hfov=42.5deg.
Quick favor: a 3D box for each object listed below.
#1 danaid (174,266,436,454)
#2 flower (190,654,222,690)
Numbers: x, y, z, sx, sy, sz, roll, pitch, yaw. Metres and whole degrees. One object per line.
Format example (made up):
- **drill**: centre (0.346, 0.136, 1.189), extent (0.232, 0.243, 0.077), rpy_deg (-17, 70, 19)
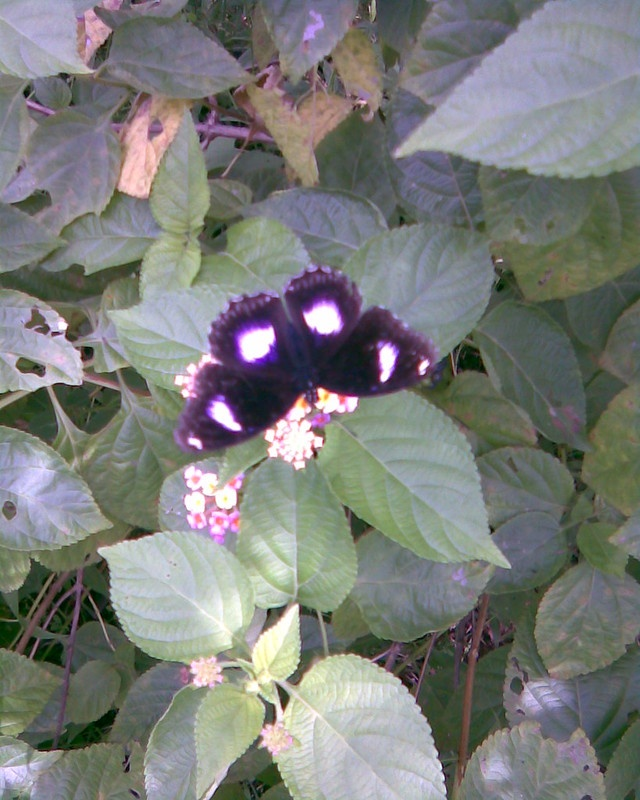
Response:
- **danaid**: centre (0.015, -0.046, 0.947), extent (0.313, 0.072, 0.176), rpy_deg (45, 100, 12)
- **flower**: centre (-0.156, 0.389, 1.146), extent (0.044, 0.131, 0.039), rpy_deg (-8, 64, -8)
